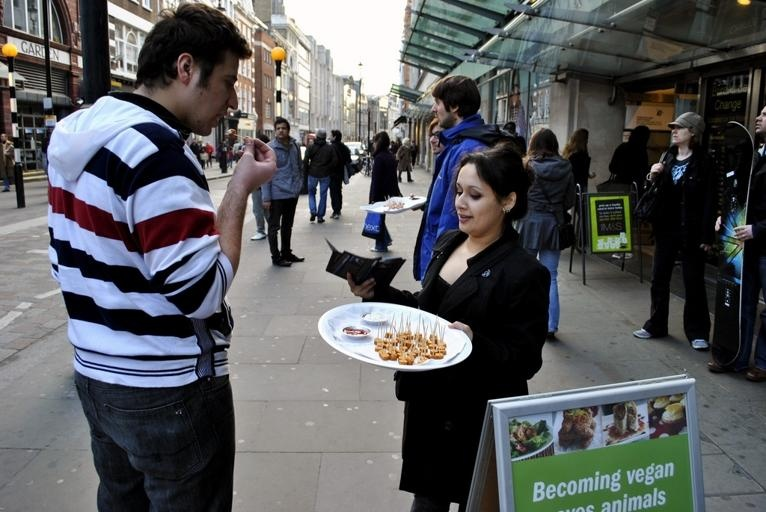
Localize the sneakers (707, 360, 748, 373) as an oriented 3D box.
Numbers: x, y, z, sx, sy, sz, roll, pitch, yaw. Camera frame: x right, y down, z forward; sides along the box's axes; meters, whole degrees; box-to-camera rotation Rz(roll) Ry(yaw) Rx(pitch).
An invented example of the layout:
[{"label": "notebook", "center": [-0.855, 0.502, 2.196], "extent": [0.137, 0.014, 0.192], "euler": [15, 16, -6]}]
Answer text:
[{"label": "sneakers", "center": [3.452, 1.131, 5.480], "extent": [0.370, 0.155, 0.136], "euler": [-4, 6, -4]}]

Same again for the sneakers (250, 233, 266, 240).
[{"label": "sneakers", "center": [-2.729, -0.417, 11.930], "extent": [0.331, 0.125, 0.120], "euler": [-2, 5, -42]}]

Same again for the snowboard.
[{"label": "snowboard", "center": [3.462, -0.152, 5.409], "extent": [0.477, 2.293, 0.240], "euler": [11, -5, -29]}]

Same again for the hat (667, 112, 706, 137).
[{"label": "hat", "center": [3.342, -1.451, 6.026], "extent": [0.389, 0.211, 0.265], "euler": [15, 19, 6]}]

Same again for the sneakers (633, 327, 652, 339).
[{"label": "sneakers", "center": [3.006, 0.907, 6.320], "extent": [0.198, 0.088, 0.176], "euler": [11, 18, 42]}]

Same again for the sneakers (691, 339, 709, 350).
[{"label": "sneakers", "center": [3.502, 0.983, 6.013], "extent": [0.169, 0.094, 0.151], "euler": [6, 15, 28]}]

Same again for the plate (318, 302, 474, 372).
[{"label": "plate", "center": [0.068, 0.374, 2.634], "extent": [0.481, 0.051, 0.447], "euler": [19, 23, 23]}]

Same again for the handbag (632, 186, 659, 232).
[{"label": "handbag", "center": [3.101, -0.602, 6.395], "extent": [0.221, 0.598, 0.483], "euler": [8, 0, 22]}]

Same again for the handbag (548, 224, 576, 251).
[{"label": "handbag", "center": [2.085, -0.214, 6.353], "extent": [0.250, 0.329, 0.130], "euler": [1, 8, -30]}]
